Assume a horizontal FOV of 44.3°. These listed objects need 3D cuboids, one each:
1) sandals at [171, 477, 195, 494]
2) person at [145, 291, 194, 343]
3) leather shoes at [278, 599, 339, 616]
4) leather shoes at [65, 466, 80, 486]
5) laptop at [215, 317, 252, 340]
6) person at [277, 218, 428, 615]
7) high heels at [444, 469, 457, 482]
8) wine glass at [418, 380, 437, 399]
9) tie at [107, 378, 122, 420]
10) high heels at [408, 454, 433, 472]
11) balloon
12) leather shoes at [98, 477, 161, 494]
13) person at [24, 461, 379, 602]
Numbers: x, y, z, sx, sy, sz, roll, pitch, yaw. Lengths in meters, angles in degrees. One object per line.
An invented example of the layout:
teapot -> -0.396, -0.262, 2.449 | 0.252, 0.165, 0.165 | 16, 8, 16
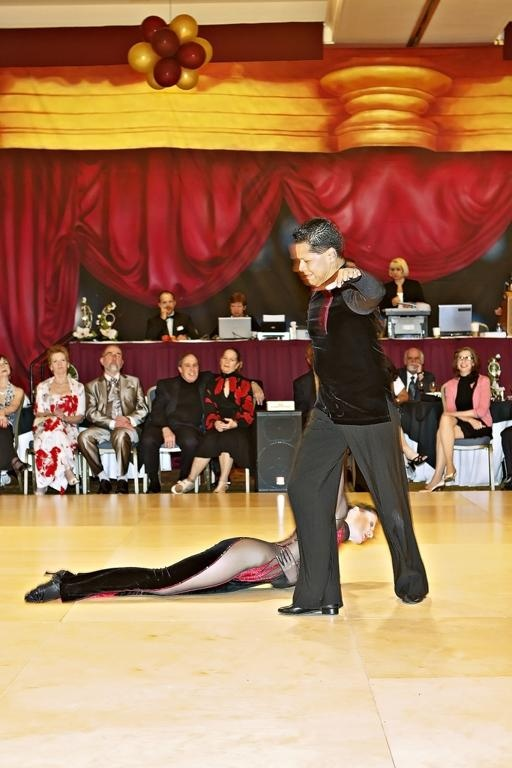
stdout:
sandals -> -0.707, 0.993, 6.110 | 0.115, 0.106, 0.244 | -6, -12, 26
person -> -1.210, -0.744, 8.961 | 0.690, 1.093, 0.607 | -5, 20, -8
leather shoes -> 0.210, 0.868, 2.517 | 0.236, 0.098, 0.078 | 2, -8, 8
leather shoes -> -1.810, 0.915, 6.199 | 0.116, 0.178, 0.069 | -15, -24, -32
laptop -> -0.275, -0.715, 7.970 | 0.396, 0.271, 0.286 | 2, 10, 2
person -> 0.349, 0.158, 2.462 | 0.536, 1.484, 0.744 | -1, -4, 21
high heels -> 1.897, 0.892, 6.133 | 0.076, 0.121, 0.241 | -2, -5, 30
wine glass -> 1.870, 0.045, 6.890 | 0.216, 0.239, 0.214 | 1, -11, -4
tie -> -1.497, 0.146, 6.678 | 0.147, 0.617, 0.058 | 3, -44, -19
high heels -> 1.625, 0.791, 6.424 | 0.121, 0.124, 0.341 | -46, 4, -14
balloon -> -1.024, -4.043, 7.553 | 0.883, 0.920, 0.703 | -2, -4, 25
leather shoes -> -1.284, 1.030, 6.389 | 0.488, 0.212, 0.148 | -6, -5, 9
person -> -0.358, 0.847, 3.689 | 1.698, 0.396, 0.675 | 0, 32, 0
